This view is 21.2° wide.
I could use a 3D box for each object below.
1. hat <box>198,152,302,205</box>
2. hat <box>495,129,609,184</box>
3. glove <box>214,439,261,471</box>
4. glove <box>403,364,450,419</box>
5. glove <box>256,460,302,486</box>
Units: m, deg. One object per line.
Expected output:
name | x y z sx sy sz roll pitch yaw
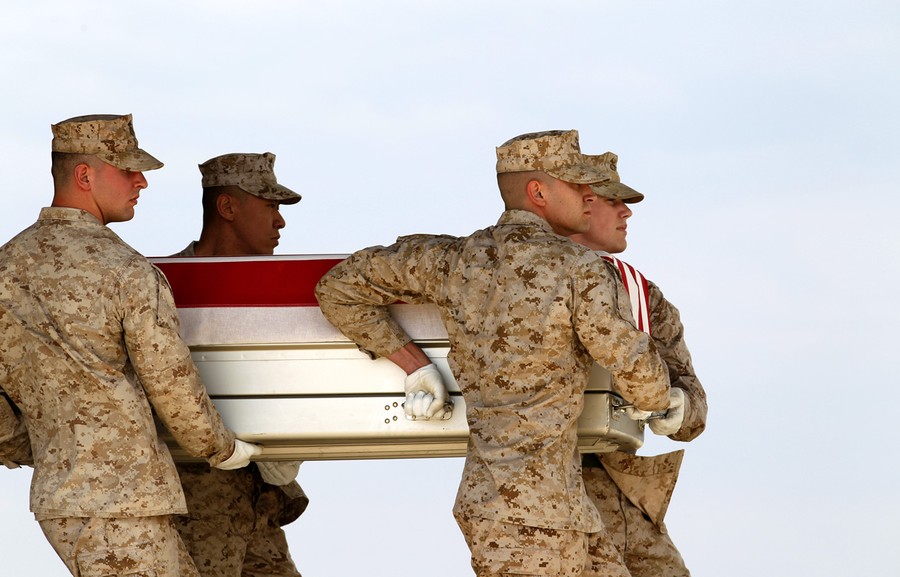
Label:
hat | -1.089 -0.667 13.118 0.471 0.218 0.283 7 6 14
hat | 0.487 -0.707 11.764 0.617 0.252 0.425 3 9 9
glove | -1.063 0.843 11.920 0.148 0.093 0.192 4 -10 -26
glove | -0.115 0.504 11.729 0.222 0.264 0.126 -9 -3 17
glove | -0.906 1.007 12.750 0.164 0.162 0.183 5 -21 -26
